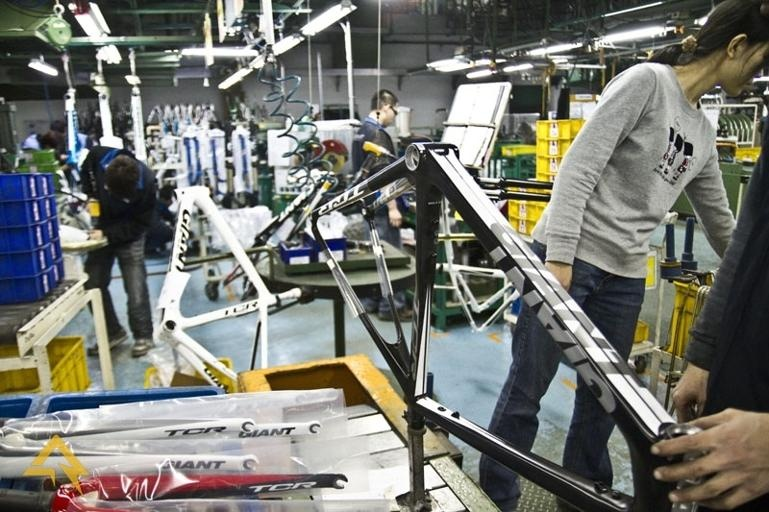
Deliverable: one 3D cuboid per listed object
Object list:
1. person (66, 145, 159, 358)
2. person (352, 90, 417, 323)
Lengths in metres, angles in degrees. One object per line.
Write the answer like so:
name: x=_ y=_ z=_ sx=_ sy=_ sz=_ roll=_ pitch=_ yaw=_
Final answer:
person: x=-2.231 y=-0.042 z=5.084 sx=0.508 sy=1.748 sz=0.422 roll=4 pitch=15 yaw=18
person: x=-0.028 y=-0.475 z=5.575 sx=0.498 sy=2.082 sz=1.035 roll=-2 pitch=15 yaw=-3
